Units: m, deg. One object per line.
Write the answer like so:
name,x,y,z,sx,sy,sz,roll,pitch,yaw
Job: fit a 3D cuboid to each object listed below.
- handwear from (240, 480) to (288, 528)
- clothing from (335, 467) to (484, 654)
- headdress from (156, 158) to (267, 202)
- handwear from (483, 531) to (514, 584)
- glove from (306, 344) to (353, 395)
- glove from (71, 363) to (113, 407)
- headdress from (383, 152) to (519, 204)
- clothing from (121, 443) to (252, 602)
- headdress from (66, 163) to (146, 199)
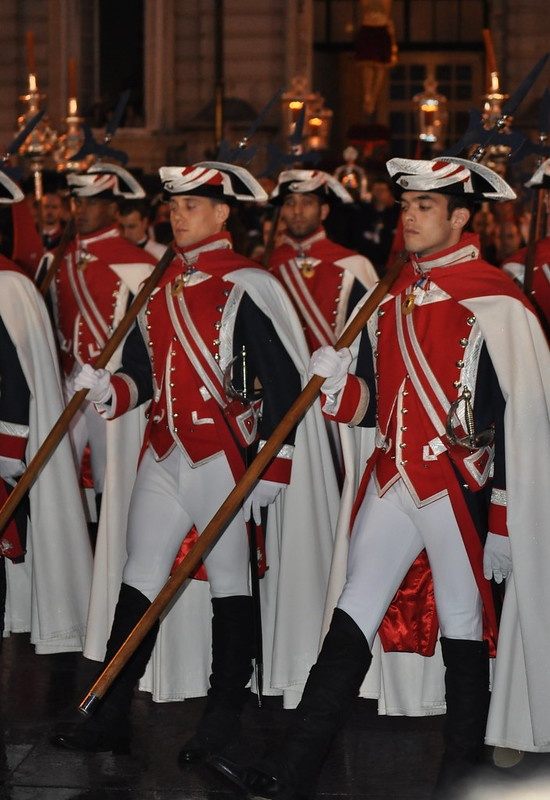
handwear,-0.046,0.370,4.472,0.186,0.143,0.049,10,12,-20
clothing,0.438,0.517,3.964,0.438,0.511,0.246,2,7,18
headdress,-0.234,-0.765,4.550,0.276,0.071,0.203,4,0,-25
handwear,0.729,0.503,3.986,0.084,0.172,0.181,3,6,21
glove,0.188,-0.098,4.097,0.151,0.150,0.070,0,24,-6
glove,-0.656,-0.051,4.533,0.131,0.148,0.076,-32,-11,14
headdress,0.576,-0.705,4.054,0.282,0.073,0.212,2,7,-37
clothing,-0.353,0.420,4.375,0.461,0.531,0.167,0,-4,6
headdress,-0.817,-1.023,5.917,0.310,0.105,0.212,-2,5,10
